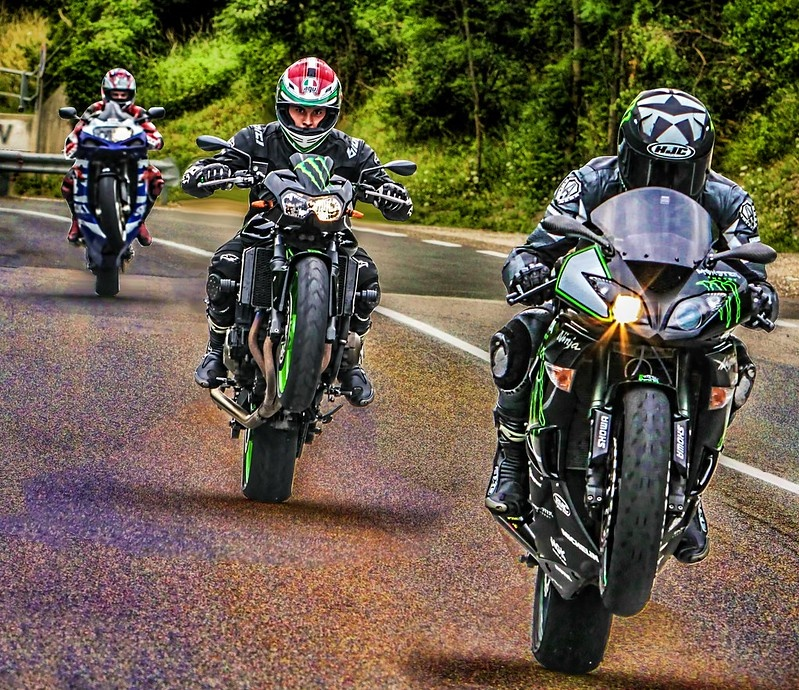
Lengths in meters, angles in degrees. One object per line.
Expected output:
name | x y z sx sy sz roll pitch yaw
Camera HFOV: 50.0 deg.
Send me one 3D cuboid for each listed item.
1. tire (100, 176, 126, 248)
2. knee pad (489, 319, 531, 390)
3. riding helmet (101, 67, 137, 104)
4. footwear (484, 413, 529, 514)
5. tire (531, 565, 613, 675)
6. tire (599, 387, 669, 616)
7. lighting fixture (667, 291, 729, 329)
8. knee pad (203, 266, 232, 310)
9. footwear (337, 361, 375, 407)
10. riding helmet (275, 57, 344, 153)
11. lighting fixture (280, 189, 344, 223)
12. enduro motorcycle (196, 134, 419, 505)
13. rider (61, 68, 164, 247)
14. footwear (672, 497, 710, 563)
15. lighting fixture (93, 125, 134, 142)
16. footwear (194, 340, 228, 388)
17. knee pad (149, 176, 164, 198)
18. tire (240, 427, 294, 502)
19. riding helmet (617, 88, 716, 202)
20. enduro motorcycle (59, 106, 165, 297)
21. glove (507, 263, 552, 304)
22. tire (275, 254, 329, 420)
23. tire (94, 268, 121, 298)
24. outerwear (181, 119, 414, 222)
tire | -3.568 -1.645 10.639 0.286 0.922 0.394 -1 10 -30
knee pad | 0.495 0.036 3.872 0.125 0.293 0.206 -2 19 -34
riding helmet | -3.851 -3.612 11.836 0.434 0.470 0.605 2 25 -11
footwear | 0.519 0.542 3.945 0.159 0.486 0.504 5 14 17
tire | 0.743 1.120 3.826 0.247 0.570 0.580 4 48 8
tire | 0.852 0.569 3.067 0.206 0.828 0.271 6 9 15
lighting fixture | 1.068 -0.123 3.067 0.116 0.092 0.328 11 27 25
knee pad | -1.196 -0.381 5.678 0.171 0.243 0.085 -2 9 24
footwear | -0.298 0.283 5.940 0.191 0.306 0.128 -29 -13 2
riding helmet | -0.591 -1.710 5.808 0.464 0.535 0.631 4 48 -3
lighting fixture | -0.533 -0.859 5.273 0.378 0.171 0.101 3 9 -9
enduro motorcycle | -0.780 -0.138 5.571 1.040 2.316 1.188 5 9 4
rider | -4.062 -2.843 12.115 1.218 1.617 2.691 0 -4 -7
footwear | 1.223 0.785 3.615 0.123 0.161 0.365 -1 10 11
lighting fixture | -3.569 -2.649 10.661 0.462 0.215 0.121 0 10 -22
footwear | -1.284 0.152 5.977 0.161 0.187 0.417 17 46 -16
knee pad | -3.256 -2.152 11.467 0.173 0.232 0.217 -2 7 -9
tire | -0.844 0.780 5.554 0.210 0.509 0.469 4 2 -11
riding helmet | 1.141 -0.861 3.744 0.373 0.456 0.502 5 54 3
enduro motorcycle | -3.641 -1.857 10.883 1.041 2.487 0.965 0 10 -22
glove | 0.564 -0.262 3.666 0.196 0.149 0.087 -18 -31 42
tire | -0.580 -0.030 5.189 0.292 1.018 0.426 3 9 -7
tire | -3.774 -0.814 11.050 0.302 0.488 0.267 11 10 23
outerwear | -0.644 -1.309 5.961 1.404 0.614 0.760 2 -5 -2
